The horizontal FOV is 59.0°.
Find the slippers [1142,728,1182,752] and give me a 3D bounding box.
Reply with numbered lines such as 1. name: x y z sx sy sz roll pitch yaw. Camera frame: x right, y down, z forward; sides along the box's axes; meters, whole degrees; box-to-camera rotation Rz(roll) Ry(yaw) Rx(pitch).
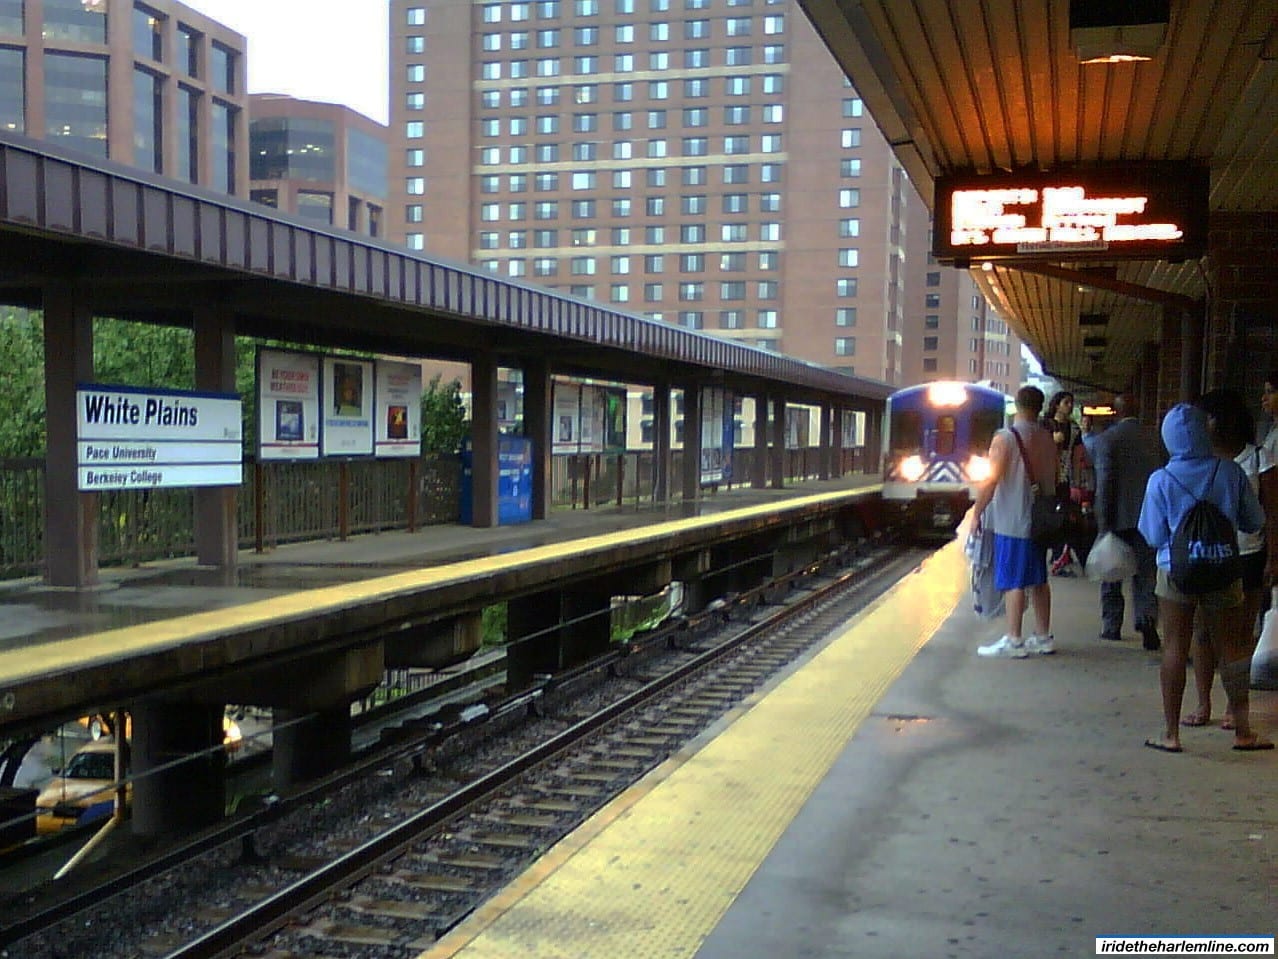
1. slippers: 3.143 1.571 6.812 0.094 0.149 0.195 -3 10 -43

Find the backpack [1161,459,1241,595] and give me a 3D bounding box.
1. backpack: 3.214 0.306 6.377 0.391 0.755 0.221 1 5 -8

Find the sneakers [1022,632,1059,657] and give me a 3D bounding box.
1. sneakers: 3.339 1.374 9.416 0.322 0.166 0.137 2 4 43

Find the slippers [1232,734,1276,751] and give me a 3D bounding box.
1. slippers: 3.662 1.566 6.733 0.216 0.096 0.095 -2 -3 6

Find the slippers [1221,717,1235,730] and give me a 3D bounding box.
1. slippers: 3.755 1.558 7.206 0.056 0.077 0.176 -8 -20 23

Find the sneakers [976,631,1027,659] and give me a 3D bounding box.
1. sneakers: 3.028 1.391 9.448 0.428 0.226 0.175 -1 -1 18
